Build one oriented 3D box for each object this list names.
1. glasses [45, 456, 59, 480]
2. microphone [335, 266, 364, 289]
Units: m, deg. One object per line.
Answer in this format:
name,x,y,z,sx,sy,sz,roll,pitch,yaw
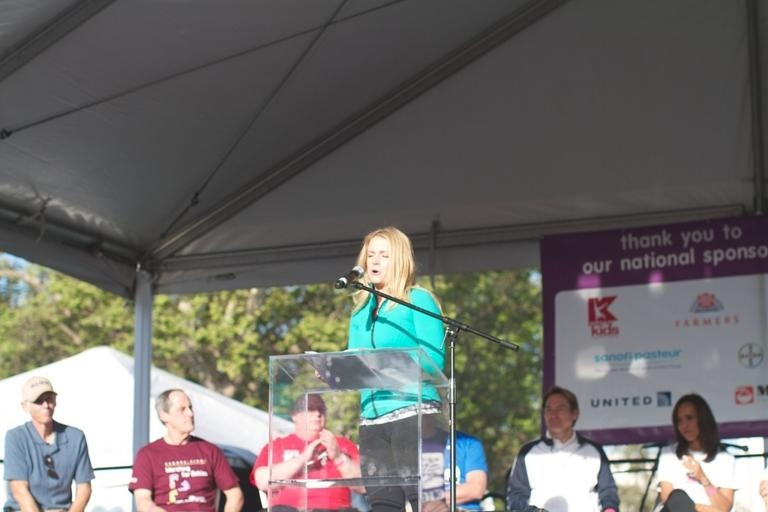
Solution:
glasses,-2.850,1.794,14.192,0.071,0.215,0.082,-13,8,-20
microphone,-0.236,0.149,11.779,0.094,0.094,0.310,-40,-9,23
